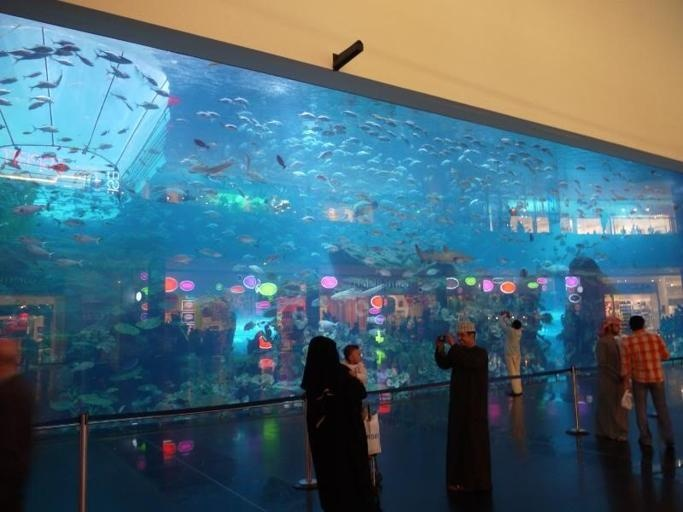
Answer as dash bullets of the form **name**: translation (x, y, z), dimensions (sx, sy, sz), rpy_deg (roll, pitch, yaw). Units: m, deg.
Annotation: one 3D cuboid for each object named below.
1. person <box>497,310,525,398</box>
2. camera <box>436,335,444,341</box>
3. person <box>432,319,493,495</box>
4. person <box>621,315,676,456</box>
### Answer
- **person**: translation (4.261, 2.427, 12.642), dimensions (0.518, 2.072, 1.519), rpy_deg (-1, -7, 19)
- **camera**: translation (1.346, 1.109, 6.769), dimensions (0.102, 0.051, 0.102), rpy_deg (-2, -5, 37)
- **person**: translation (1.598, 1.957, 6.638), dimensions (0.708, 2.198, 0.451), rpy_deg (0, -7, 14)
- **person**: translation (4.902, 1.997, 8.077), dimensions (0.660, 2.056, 1.121), rpy_deg (-3, -8, 31)
